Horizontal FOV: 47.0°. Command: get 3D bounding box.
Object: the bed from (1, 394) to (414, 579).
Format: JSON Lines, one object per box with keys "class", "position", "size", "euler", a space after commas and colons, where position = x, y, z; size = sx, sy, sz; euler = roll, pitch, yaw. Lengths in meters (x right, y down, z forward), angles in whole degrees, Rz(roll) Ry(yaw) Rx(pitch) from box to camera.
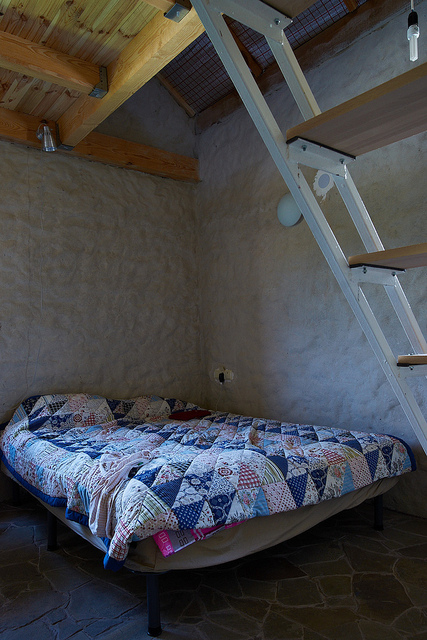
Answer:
{"class": "bed", "position": [-0.248, 0.652, 2.544], "size": [1.511, 0.453, 1.863], "euler": [0, -3, -41]}
